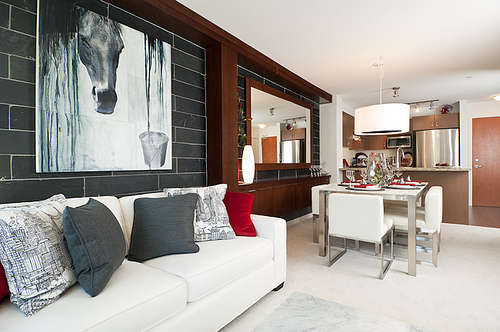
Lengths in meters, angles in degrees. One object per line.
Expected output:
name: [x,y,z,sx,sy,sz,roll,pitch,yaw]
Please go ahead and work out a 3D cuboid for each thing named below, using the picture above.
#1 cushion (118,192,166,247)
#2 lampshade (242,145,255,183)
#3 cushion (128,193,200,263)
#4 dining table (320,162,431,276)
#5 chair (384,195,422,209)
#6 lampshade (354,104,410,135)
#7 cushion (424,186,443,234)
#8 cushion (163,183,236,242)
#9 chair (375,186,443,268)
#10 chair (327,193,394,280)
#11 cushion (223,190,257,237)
cushion: [-1.074,0.522,3.203,0.520,0.474,0.224,-3,-4,-40]
lampshade: [-0.033,-0.021,4.645,0.165,0.543,0.156,-1,13,0]
cushion: [-0.856,0.622,3.119,0.590,0.567,0.199,2,-28,-17]
dining table: [1.948,0.688,4.810,1.208,1.078,1.861,1,5,32]
chair: [2.011,0.484,4.254,0.257,0.177,0.140,-1,2,34]
lampshade: [1.859,-0.631,4.822,0.687,0.321,0.667,3,1,-14]
cushion: [2.255,0.542,3.958,0.183,0.454,0.691,-1,0,35]
cushion: [-0.494,0.521,3.528,0.370,0.604,0.722,1,-1,39]
chair: [2.149,0.694,4.490,0.940,1.176,1.308,0,0,38]
chair: [1.401,0.809,4.089,0.711,0.938,0.644,2,8,39]
cushion: [-0.131,0.542,3.564,0.491,0.452,0.146,2,-5,-2]
